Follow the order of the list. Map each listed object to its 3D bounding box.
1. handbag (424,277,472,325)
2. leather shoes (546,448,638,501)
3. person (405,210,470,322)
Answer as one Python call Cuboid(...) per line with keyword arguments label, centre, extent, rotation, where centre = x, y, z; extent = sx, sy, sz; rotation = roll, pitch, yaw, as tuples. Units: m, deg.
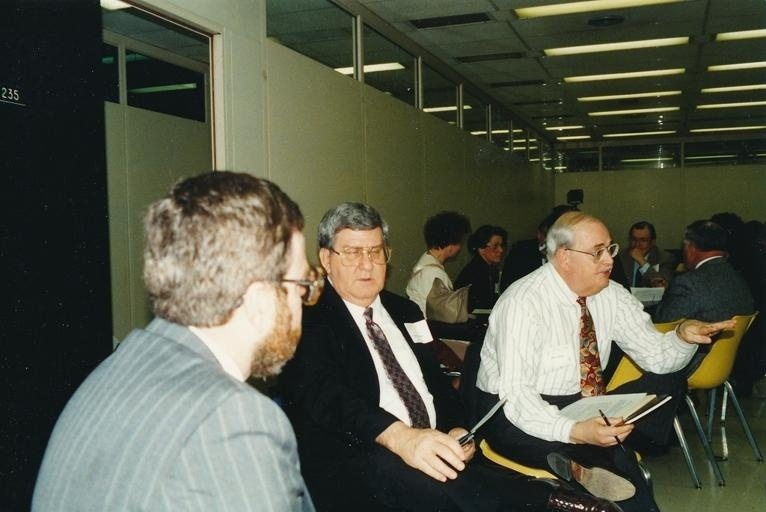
Cuboid(label="handbag", centre=(0.542, 0.288, 5.765), extent=(0.268, 0.445, 0.487), rotation=(-5, 7, -43))
Cuboid(label="leather shoes", centre=(0.958, 0.993, 3.250), extent=(0.468, 0.166, 0.210), rotation=(25, 1, 24))
Cuboid(label="person", centre=(0.643, 0.118, 5.780), extent=(0.348, 0.714, 0.695), rotation=(16, -34, 23))
